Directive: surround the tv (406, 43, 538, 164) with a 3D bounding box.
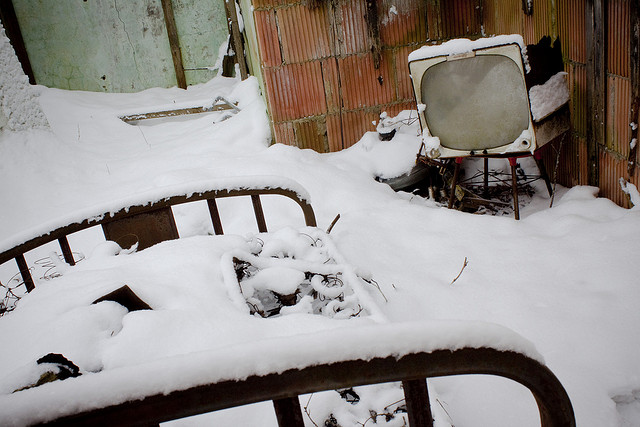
[{"bbox_3d":[1.767,-1.336,5.453,1.256,1.270,0.650,-1,35,30],"label":"tv"}]
